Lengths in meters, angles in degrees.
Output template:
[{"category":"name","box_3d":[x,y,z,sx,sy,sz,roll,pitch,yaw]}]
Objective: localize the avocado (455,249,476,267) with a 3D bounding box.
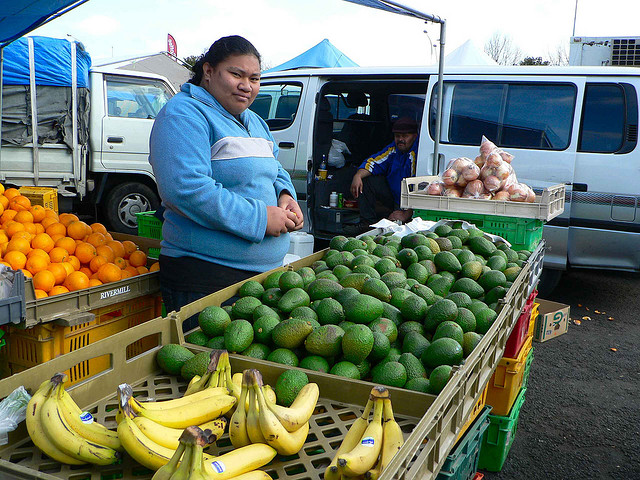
[{"category":"avocado","box_3d":[0.934,0.104,2.591,0.077,0.081,0.104,-2,1,2]}]

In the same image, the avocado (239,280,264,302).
[{"category":"avocado","box_3d":[-0.351,0.257,2.116,0.105,0.087,0.084,9,2,26]}]

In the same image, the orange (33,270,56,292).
[{"category":"orange","box_3d":[-1.784,0.253,2.642,0.140,0.165,0.131,7,-7,-37]}]

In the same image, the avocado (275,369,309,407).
[{"category":"avocado","box_3d":[-0.099,0.496,1.422,0.105,0.112,0.140,5,-5,-1]}]

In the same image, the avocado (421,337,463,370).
[{"category":"avocado","box_3d":[0.511,0.448,1.649,0.150,0.112,0.117,-16,2,24]}]

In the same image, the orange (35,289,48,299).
[{"category":"orange","box_3d":[-1.658,0.311,2.419,0.043,0.037,0.037,29,18,-8]}]

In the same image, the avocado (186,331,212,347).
[{"category":"avocado","box_3d":[-0.536,0.419,1.788,0.070,0.055,0.051,-4,6,-42]}]

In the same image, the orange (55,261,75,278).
[{"category":"orange","box_3d":[-1.759,0.188,2.812,0.081,0.081,0.096,-15,36,-27]}]

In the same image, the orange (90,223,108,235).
[{"category":"orange","box_3d":[-1.835,-0.107,3.396,0.120,0.106,0.103,3,6,4]}]

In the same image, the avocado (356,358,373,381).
[{"category":"avocado","box_3d":[0.182,0.507,1.663,0.069,0.087,0.071,2,12,6]}]

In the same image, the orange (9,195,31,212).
[{"category":"orange","box_3d":[-2.460,-0.293,3.329,0.096,0.091,0.095,-26,-21,-14]}]

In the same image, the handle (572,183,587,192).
[{"category":"handle","box_3d":[3.203,-0.642,5.009,0.151,0.104,0.023,5,13,22]}]

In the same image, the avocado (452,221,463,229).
[{"category":"avocado","box_3d":[1.179,-0.131,3.489,0.086,0.069,0.066,-7,-10,16]}]

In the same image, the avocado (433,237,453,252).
[{"category":"avocado","box_3d":[0.853,0.028,2.801,0.074,0.079,0.101,-14,-8,39]}]

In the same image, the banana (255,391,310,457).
[{"category":"banana","box_3d":[-0.105,0.512,1.141,0.047,0.150,0.109,-29,17,7]}]

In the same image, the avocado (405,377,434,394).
[{"category":"avocado","box_3d":[0.378,0.527,1.509,0.064,0.049,0.050,3,-35,-13]}]

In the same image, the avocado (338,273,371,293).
[{"category":"avocado","box_3d":[0.182,0.205,2.125,0.143,0.085,0.079,-6,18,-7]}]

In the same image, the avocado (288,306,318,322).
[{"category":"avocado","box_3d":[-0.077,0.324,1.850,0.067,0.052,0.089,-12,-19,16]}]

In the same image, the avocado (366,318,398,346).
[{"category":"avocado","box_3d":[0.284,0.389,1.802,0.097,0.100,0.126,0,0,-2]}]

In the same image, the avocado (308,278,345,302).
[{"category":"avocado","box_3d":[0.034,0.240,2.039,0.155,0.091,0.094,7,27,30]}]

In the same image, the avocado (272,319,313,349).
[{"category":"avocado","box_3d":[-0.114,0.379,1.745,0.142,0.092,0.106,-13,-3,7]}]

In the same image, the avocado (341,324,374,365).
[{"category":"avocado","box_3d":[0.146,0.391,1.590,0.137,0.174,0.140,0,29,-5]}]

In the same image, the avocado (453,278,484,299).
[{"category":"avocado","box_3d":[0.833,0.250,2.279,0.128,0.098,0.098,0,29,38]}]

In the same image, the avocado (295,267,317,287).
[{"category":"avocado","box_3d":[-0.073,0.193,2.287,0.090,0.107,0.084,-4,-37,-7]}]

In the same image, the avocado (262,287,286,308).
[{"category":"avocado","box_3d":[-0.231,0.280,2.063,0.094,0.073,0.070,-35,3,-6]}]

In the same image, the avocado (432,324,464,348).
[{"category":"avocado","box_3d":[0.539,0.384,1.739,0.107,0.128,0.100,7,-23,2]}]

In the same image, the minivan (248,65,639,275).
[{"category":"minivan","box_3d":[1.876,-1.375,6.807,6.158,2.695,3.344,6,12,25]}]

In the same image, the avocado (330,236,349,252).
[{"category":"avocado","box_3d":[0.134,0.018,2.821,0.109,0.088,0.083,-4,0,-13]}]

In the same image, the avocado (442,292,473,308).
[{"category":"avocado","box_3d":[0.699,0.294,2.052,0.062,0.070,0.117,11,-3,21]}]

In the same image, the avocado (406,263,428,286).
[{"category":"avocado","box_3d":[0.576,0.187,2.418,0.062,0.115,0.110,21,0,-38]}]

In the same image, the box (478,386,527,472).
[{"category":"box","box_3d":[1.270,1.270,2.984,0.381,0.404,0.602,2,8,34]}]

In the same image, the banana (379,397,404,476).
[{"category":"banana","box_3d":[0.196,0.515,1.125,0.047,0.070,0.207,-2,50,12]}]

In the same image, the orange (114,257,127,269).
[{"category":"orange","box_3d":[-1.513,0.164,3.089,0.078,0.073,0.078,-3,17,-36]}]

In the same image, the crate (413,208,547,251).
[{"category":"crate","box_3d":[1.603,-0.166,4.089,1.102,0.383,0.725,8,8,17]}]

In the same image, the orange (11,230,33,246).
[{"category":"orange","box_3d":[-2.174,-0.033,2.988,0.114,0.137,0.114,-5,13,-31]}]

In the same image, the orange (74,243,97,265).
[{"category":"orange","box_3d":[-1.717,0.100,2.976,0.091,0.093,0.107,12,-30,10]}]

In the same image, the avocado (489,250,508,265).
[{"category":"avocado","box_3d":[1.225,0.110,2.789,0.085,0.046,0.085,-14,52,-28]}]

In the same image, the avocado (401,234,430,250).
[{"category":"avocado","box_3d":[0.650,0.005,2.811,0.119,0.072,0.093,0,-2,43]}]

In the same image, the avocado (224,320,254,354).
[{"category":"avocado","box_3d":[-0.355,0.404,1.764,0.134,0.108,0.188,9,26,-4]}]

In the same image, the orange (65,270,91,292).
[{"category":"orange","box_3d":[-1.611,0.263,2.696,0.073,0.071,0.083,-33,-17,-12]}]

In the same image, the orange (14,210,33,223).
[{"category":"orange","box_3d":[-2.309,-0.183,3.171,0.094,0.110,0.092,18,26,4]}]

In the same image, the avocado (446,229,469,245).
[{"category":"avocado","box_3d":[1.036,-0.028,3.060,0.136,0.087,0.093,-7,9,38]}]

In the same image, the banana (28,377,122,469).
[{"category":"banana","box_3d":[-0.690,0.505,1.133,0.193,0.108,0.111,35,18,9]}]

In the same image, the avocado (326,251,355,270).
[{"category":"avocado","box_3d":[0.119,0.112,2.460,0.132,0.078,0.101,-14,-3,-6]}]

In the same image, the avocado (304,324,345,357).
[{"category":"avocado","box_3d":[0.019,0.401,1.695,0.140,0.101,0.108,-2,8,10]}]

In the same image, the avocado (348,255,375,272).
[{"category":"avocado","box_3d":[0.248,0.129,2.386,0.107,0.064,0.083,-1,4,-12]}]

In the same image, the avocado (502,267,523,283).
[{"category":"avocado","box_3d":[1.174,0.200,2.475,0.080,0.065,0.106,-9,1,0]}]
